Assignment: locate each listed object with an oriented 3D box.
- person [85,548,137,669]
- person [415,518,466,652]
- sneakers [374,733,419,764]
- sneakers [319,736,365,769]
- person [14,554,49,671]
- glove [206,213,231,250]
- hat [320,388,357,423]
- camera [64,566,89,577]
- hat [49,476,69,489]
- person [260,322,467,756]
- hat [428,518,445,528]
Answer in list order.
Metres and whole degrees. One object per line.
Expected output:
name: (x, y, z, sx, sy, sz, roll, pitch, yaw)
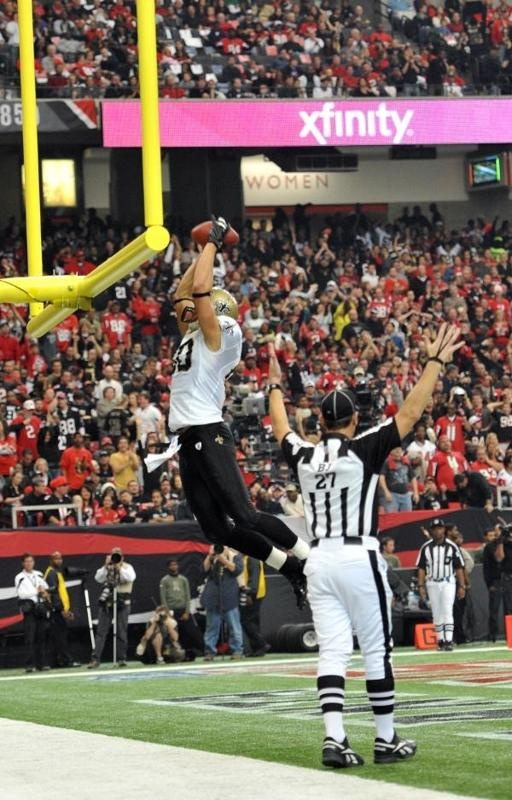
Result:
person: (-1.503, 2.144, 12.246, 0.335, 1.197, 0.652, -2, -1, 34)
person: (2.014, 2.054, 13.123, 0.592, 1.372, 0.460, -3, -5, 18)
sneakers: (0.576, 1.472, 4.998, 0.228, 0.114, 0.082, 0, -5, -23)
sneakers: (0.352, 1.442, 4.823, 0.231, 0.101, 0.084, 20, -27, -40)
person: (-2.197, 2.119, 11.842, 0.379, 1.158, 0.384, -1, -1, -39)
glove: (-0.188, -0.821, 5.765, 0.070, 0.165, 0.104, 2, -30, 48)
hat: (0.351, 0.030, 5.247, 0.117, 0.161, 0.095, 3, -43, 11)
camera: (-1.813, 1.745, 12.032, 0.261, 0.124, 0.114, 2, -43, -21)
hat: (-2.177, 0.918, 13.033, 0.187, 0.073, 0.130, -25, 0, 19)
person: (0.501, 0.601, 5.129, 0.801, 1.878, 0.709, -2, -1, -3)
hat: (2.045, 1.393, 13.425, 0.150, 0.114, 0.213, -5, -29, 6)
